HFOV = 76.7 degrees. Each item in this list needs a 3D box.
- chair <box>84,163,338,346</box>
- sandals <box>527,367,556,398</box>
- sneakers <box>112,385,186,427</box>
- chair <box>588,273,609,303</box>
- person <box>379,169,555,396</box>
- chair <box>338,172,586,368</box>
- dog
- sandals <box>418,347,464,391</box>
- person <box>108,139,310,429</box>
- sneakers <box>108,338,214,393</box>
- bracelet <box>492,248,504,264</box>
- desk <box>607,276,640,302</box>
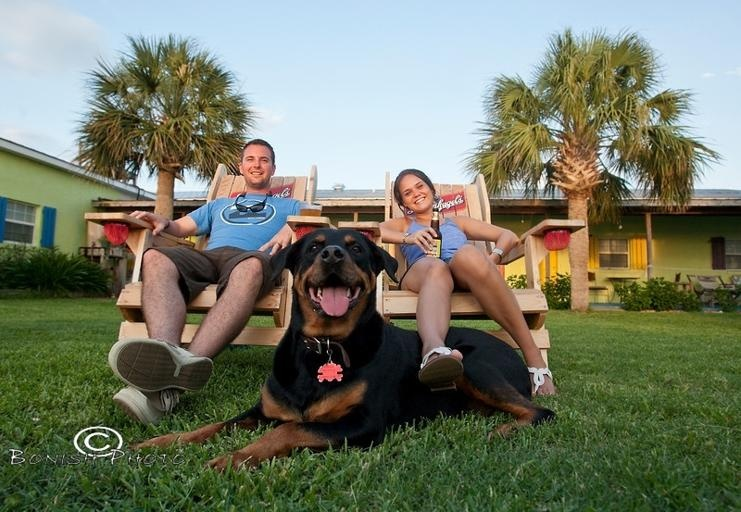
[{"bbox_3d":[-1.124,-0.174,4.248,1.639,1.771,2.224,1,3,7],"label":"chair"},{"bbox_3d":[1.124,0.805,3.071,0.138,0.112,0.217,-4,-17,4],"label":"sandals"},{"bbox_3d":[-1.181,0.763,2.544,0.383,0.140,0.163,-2,11,-37],"label":"sneakers"},{"bbox_3d":[6.717,0.876,13.794,0.732,0.867,0.378,0,1,-29],"label":"chair"},{"bbox_3d":[0.825,0.083,3.436,0.904,1.348,1.892,2,-4,-7],"label":"person"},{"bbox_3d":[0.593,0.019,4.282,1.570,1.893,2.133,0,-1,0],"label":"chair"},{"bbox_3d":[-0.113,0.407,2.627,1.904,0.970,1.035,7,-12,-39],"label":"dog"},{"bbox_3d":[0.379,0.606,2.510,0.217,0.261,0.271,0,1,7],"label":"sandals"},{"bbox_3d":[-1.056,0.158,3.243,0.984,1.427,1.674,4,3,7],"label":"person"},{"bbox_3d":[-1.165,0.596,2.610,0.592,0.262,0.262,15,-36,-14],"label":"sneakers"},{"bbox_3d":[0.987,-0.022,3.613,0.079,0.137,0.054,3,-31,12],"label":"bracelet"},{"bbox_3d":[6.583,0.812,12.125,0.700,0.683,0.704,-1,-4,5],"label":"desk"}]
